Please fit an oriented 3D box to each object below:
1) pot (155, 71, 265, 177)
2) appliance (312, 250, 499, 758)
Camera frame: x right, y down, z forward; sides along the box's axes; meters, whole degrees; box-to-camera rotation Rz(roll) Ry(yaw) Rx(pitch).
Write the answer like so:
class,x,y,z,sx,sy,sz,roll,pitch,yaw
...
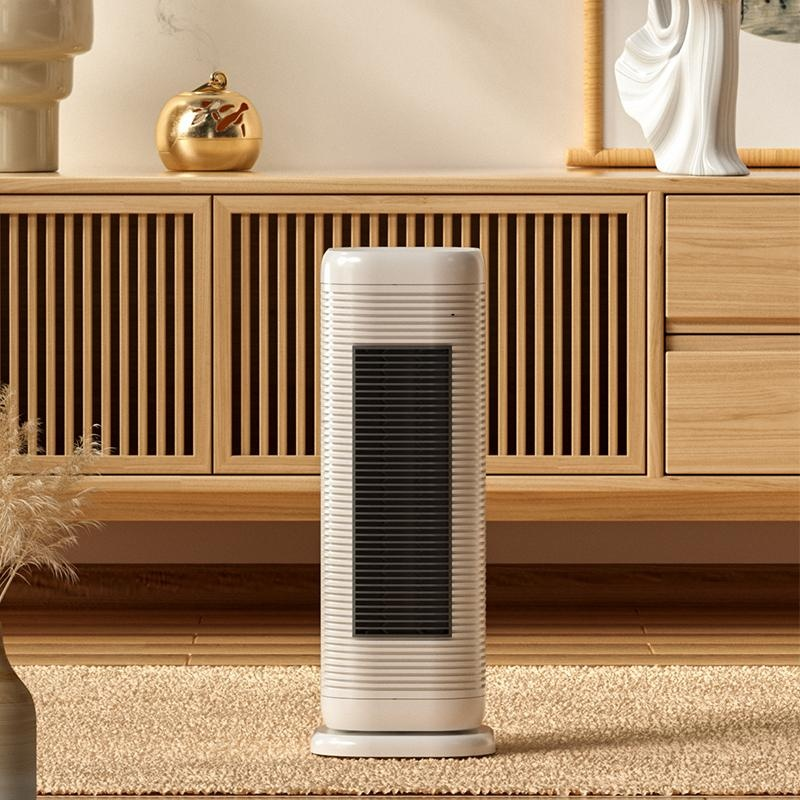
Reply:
class,x,y,z,sx,sy,sz,roll,pitch,yaw
pot,-0.294,-0.447,2.094,0.183,0.137,0.164,6,17,19
appliance,0.003,0.113,1.499,0.204,0.571,0.112,0,6,-4
